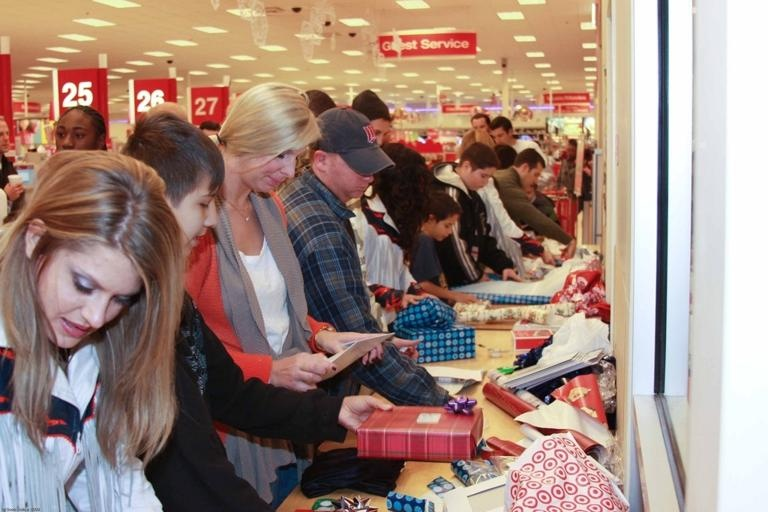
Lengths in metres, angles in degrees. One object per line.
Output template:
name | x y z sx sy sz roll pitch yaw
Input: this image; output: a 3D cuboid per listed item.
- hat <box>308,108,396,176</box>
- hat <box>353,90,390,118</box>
hat | -0.125 -0.519 2.552 0.285 0.234 0.429 -23 38 -34
hat | -0.083 -0.993 4.016 0.204 0.200 0.275 0 10 -12
